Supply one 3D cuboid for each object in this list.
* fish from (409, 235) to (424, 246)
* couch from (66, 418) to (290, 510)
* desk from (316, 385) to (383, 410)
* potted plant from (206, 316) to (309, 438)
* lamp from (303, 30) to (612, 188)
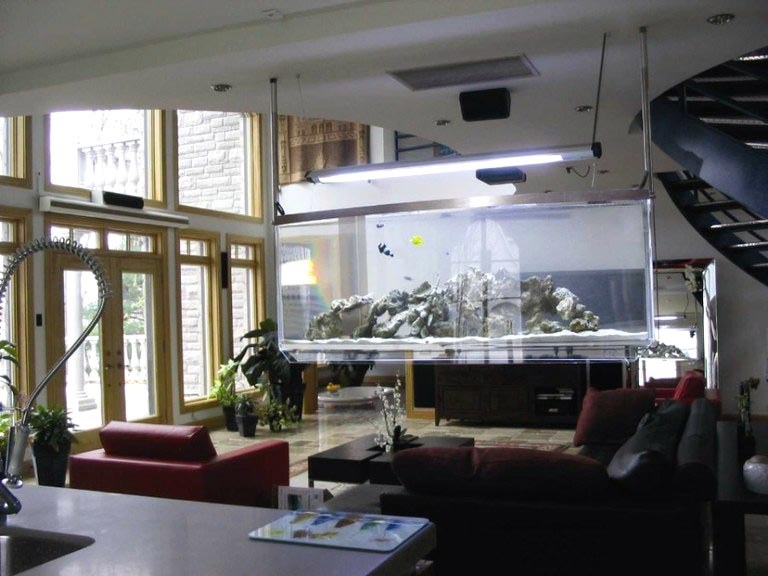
[{"bbox_3d":[0.159,-0.225,3.284,0.061,0.052,0.010,-3,-2,1],"label":"fish"},{"bbox_3d":[-1.386,0.915,4.802,1.161,0.809,0.856,0,0,21],"label":"couch"},{"bbox_3d":[-0.494,1.557,9.378,0.783,0.381,1.366,-3,-2,-5],"label":"desk"},{"bbox_3d":[-1.711,1.190,9.511,1.235,1.510,1.054,-3,-2,-12],"label":"potted plant"},{"bbox_3d":[0.621,-0.947,4.087,1.466,0.507,1.885,-4,-2,26],"label":"lamp"}]
